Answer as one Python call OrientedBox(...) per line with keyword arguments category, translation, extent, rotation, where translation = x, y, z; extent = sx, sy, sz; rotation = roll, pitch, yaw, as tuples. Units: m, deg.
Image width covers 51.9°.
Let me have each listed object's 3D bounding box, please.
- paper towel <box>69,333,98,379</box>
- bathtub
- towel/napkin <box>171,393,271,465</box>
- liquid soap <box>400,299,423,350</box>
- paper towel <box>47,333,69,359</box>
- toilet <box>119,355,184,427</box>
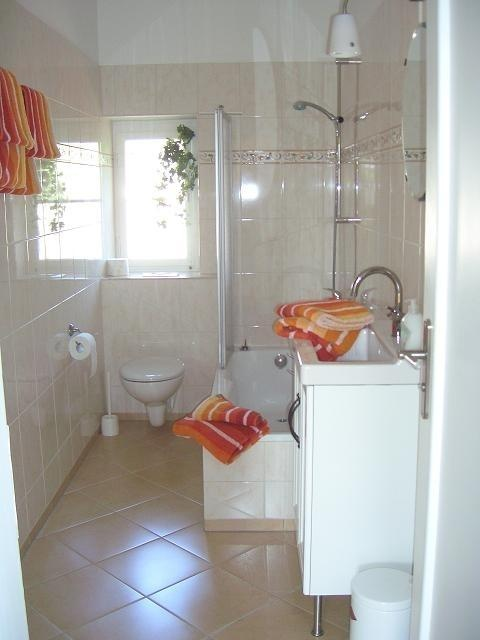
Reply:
OrientedBox(category="paper towel", translation=(-0.833, 0.185, 2.628), extent=(0.120, 0.237, 0.116), rotation=(3, 6, 16))
OrientedBox(category="bathtub", translation=(0.036, 0.490, 2.833), extent=(0.566, 0.513, 1.414), rotation=(-1, 15, -3))
OrientedBox(category="towel/napkin", translation=(-0.093, 0.506, 2.111), extent=(0.320, 0.241, 0.355), rotation=(-8, 11, -44))
OrientedBox(category="liquid soap", translation=(0.457, 0.014, 1.303), extent=(0.059, 0.148, 0.061), rotation=(-3, -15, 36))
OrientedBox(category="paper towel", translation=(-0.912, 0.135, 2.466), extent=(0.098, 0.102, 0.121), rotation=(22, -3, -11))
OrientedBox(category="toilet", translation=(-0.562, 0.447, 3.225), extent=(0.330, 0.395, 0.420), rotation=(-1, 20, 2))
